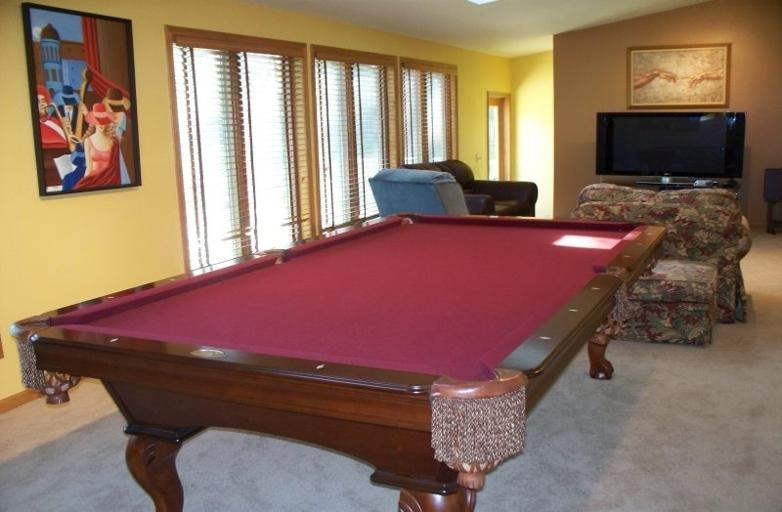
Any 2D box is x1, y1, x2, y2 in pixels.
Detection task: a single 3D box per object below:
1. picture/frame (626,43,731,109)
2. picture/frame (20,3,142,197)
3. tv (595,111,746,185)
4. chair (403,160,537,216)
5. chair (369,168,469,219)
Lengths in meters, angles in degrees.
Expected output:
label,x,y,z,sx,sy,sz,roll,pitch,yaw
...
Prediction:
label,x,y,z,sx,sy,sz,roll,pitch,yaw
picture/frame,4.037,-2.524,8.123,1.255,0.694,0.048,3,14,26
picture/frame,-2.115,-1.072,4.085,0.210,1.227,0.883,6,18,25
tv,3.869,-1.499,7.974,1.949,0.758,0.209,3,15,19
chair,1.124,-0.850,7.611,1.327,0.672,1.207,4,10,18
chair,0.234,-0.583,5.480,0.908,0.608,0.334,8,31,46
